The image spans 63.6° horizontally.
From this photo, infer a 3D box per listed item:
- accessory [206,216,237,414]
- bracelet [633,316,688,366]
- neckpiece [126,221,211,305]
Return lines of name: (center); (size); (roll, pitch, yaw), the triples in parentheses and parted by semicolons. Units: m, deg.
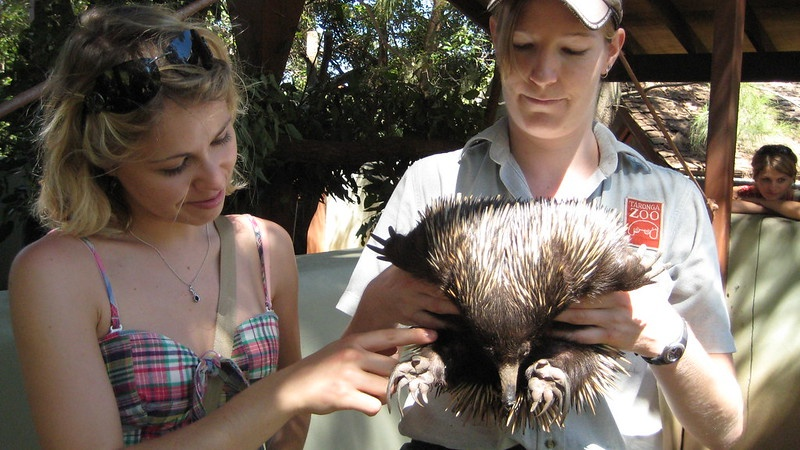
accessory: (-1.277, 0.621, 4.696); (0.135, 1.456, 0.195); (-2, -14, -1)
bracelet: (1.746, 0.778, 4.406); (0.306, 0.372, 0.217); (-11, 29, -4)
neckpiece: (-1.608, 0.294, 4.707); (0.521, 0.533, 0.132); (-7, -25, -42)
